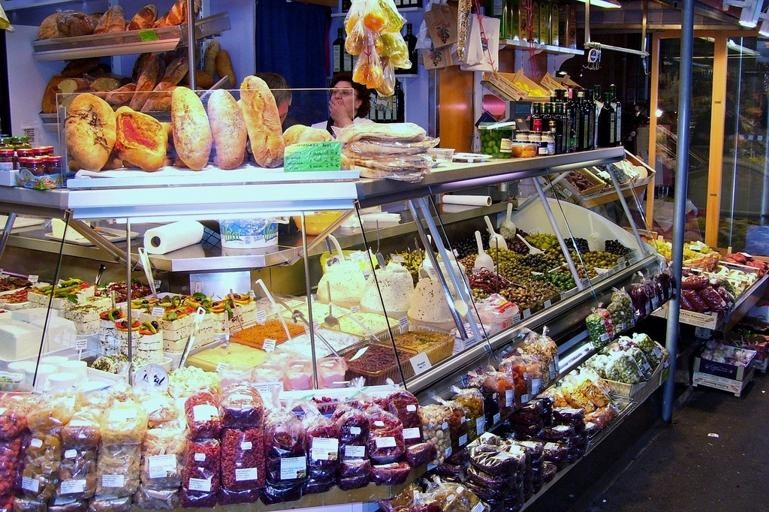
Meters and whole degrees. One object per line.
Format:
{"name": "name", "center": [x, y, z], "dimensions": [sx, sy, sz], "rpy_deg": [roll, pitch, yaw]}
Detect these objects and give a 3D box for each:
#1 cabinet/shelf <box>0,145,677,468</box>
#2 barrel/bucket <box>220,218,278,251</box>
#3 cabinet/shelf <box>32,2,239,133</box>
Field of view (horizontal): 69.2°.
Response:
{"name": "cabinet/shelf", "center": [0.274, -0.111, 3.346], "dimensions": [3.970, 1.546, 1.246], "rpy_deg": [-26, 37, -36]}
{"name": "barrel/bucket", "center": [-0.750, -0.128, 2.994], "dimensions": [0.218, 0.130, 0.219], "rpy_deg": [-1, 6, 0]}
{"name": "cabinet/shelf", "center": [-1.847, -1.491, 4.193], "dimensions": [2.046, 0.798, 1.055], "rpy_deg": [13, 38, 29]}
